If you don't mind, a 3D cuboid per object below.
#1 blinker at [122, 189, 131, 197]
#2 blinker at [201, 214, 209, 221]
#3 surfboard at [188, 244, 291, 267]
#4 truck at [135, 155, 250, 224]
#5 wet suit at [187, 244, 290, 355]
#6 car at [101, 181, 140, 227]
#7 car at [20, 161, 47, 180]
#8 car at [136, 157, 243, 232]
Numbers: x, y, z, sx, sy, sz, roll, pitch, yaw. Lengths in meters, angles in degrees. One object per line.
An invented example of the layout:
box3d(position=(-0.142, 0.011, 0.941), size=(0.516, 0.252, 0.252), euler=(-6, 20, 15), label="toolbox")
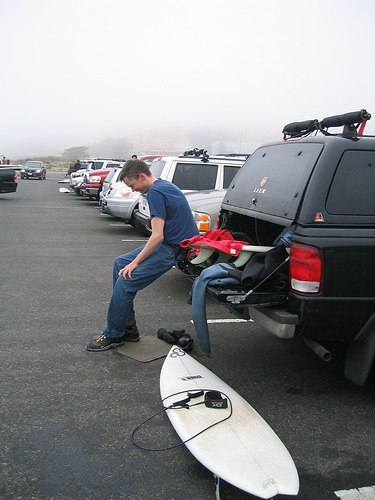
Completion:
box3d(position=(-1.752, -1.622, 10.297), size=(0.281, 0.210, 0.069), euler=(5, 5, 21), label="blinker")
box3d(position=(0.280, -0.524, 5.795), size=(0.101, 0.104, 0.079), euler=(5, 5, 38), label="blinker")
box3d(position=(0.499, -0.018, 3.327), size=(0.666, 0.195, 0.777), euler=(4, 10, 33), label="surfboard")
box3d(position=(0.026, -1.383, 7.832), size=(2.529, 1.128, 1.337), euler=(-8, 16, -17), label="truck")
box3d(position=(0.528, 0.211, 2.610), size=(0.943, 0.458, 0.712), euler=(-17, 2, -24), label="wet suit")
box3d(position=(-1.461, -1.415, 10.864), size=(2.345, 1.132, 1.258), euler=(-4, 11, -19), label="car")
box3d(position=(-18.715, -9.911, 44.342), size=(1.999, 1.423, 3.000), euler=(-1, 7, -12), label="car")
box3d(position=(0.254, -1.104, 7.011), size=(2.384, 1.152, 1.323), euler=(-6, 17, -18), label="car")
